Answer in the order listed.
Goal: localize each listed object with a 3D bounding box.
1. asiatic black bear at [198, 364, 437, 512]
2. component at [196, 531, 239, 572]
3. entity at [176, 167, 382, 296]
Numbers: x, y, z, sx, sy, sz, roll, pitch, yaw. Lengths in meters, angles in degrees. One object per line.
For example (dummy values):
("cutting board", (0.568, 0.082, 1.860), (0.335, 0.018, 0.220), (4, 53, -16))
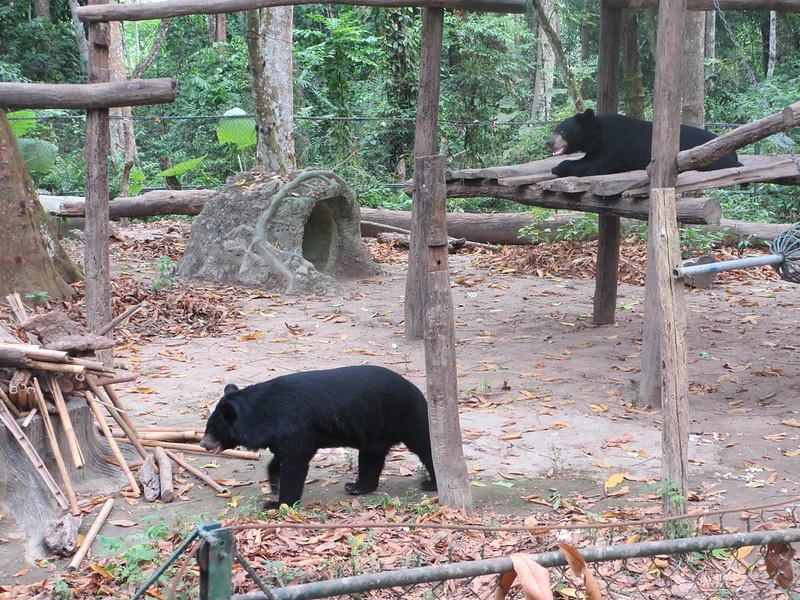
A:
("asiatic black bear", (-0.607, 1.016, 6.309), (1.961, 0.809, 0.516), (1, -10, -29))
("component", (-0.827, 1.139, 3.840), (0.184, 0.197, 0.157), (-3, -9, 14))
("entity", (-1.977, -1.185, 13.406), (2.991, 1.355, 2.994), (5, 12, 12))
